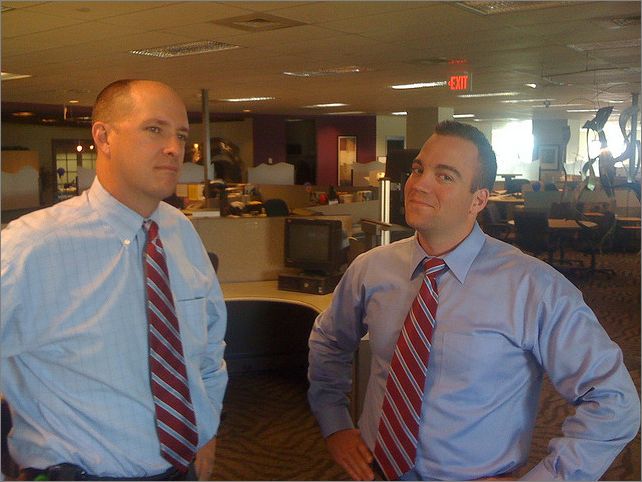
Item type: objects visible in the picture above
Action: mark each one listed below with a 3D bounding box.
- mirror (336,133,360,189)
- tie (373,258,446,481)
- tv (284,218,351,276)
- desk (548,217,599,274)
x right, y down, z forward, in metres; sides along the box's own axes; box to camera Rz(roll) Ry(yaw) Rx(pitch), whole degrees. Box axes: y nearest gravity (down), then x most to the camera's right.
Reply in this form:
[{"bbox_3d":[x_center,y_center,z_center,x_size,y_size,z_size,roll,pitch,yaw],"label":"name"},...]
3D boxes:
[{"bbox_3d":[0.860,-2.586,16.894,0.660,1.669,0.140,0,1,-2],"label":"mirror"},{"bbox_3d":[0.302,0.374,1.616,0.142,0.659,0.097,11,-13,24],"label":"tie"},{"bbox_3d":[0.013,0.035,4.072,0.486,0.424,0.376,4,4,38],"label":"tv"},{"bbox_3d":[3.955,0.057,8.388,1.096,0.796,1.168,2,7,18],"label":"desk"}]
